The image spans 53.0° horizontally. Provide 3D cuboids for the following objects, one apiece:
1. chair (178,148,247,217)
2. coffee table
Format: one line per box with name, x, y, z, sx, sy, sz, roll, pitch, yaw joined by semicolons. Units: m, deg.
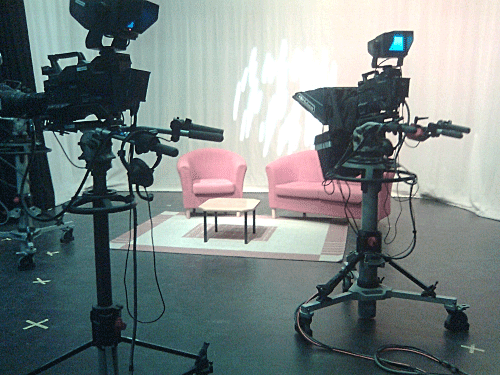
chair;-0.493;-0.057;6.385;0.887;0.832;0.778;-1;5;-16
coffee table;-0.210;0.365;5.382;0.651;0.389;0.672;3;9;24
